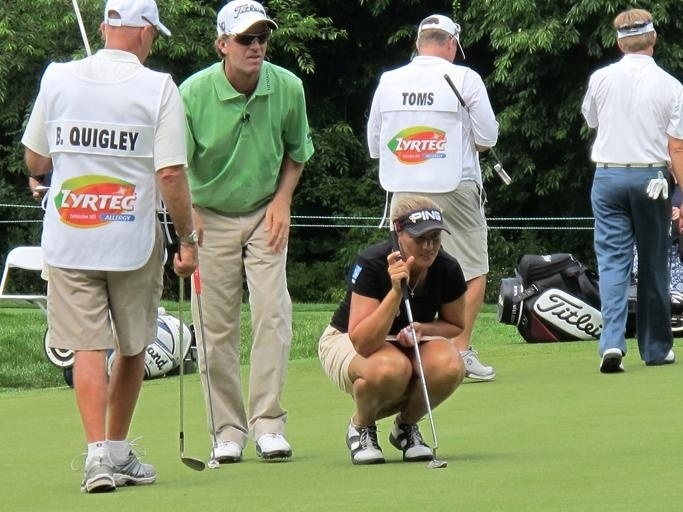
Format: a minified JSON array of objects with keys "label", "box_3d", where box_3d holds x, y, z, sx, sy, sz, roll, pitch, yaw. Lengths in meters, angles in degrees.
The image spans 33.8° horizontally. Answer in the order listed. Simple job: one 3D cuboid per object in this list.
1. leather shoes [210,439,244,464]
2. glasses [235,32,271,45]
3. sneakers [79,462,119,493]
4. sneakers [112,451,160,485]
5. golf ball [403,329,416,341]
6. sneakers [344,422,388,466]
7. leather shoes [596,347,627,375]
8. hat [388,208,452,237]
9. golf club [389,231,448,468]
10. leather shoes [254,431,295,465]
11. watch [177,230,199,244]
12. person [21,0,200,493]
[{"label":"leather shoes","box_3d":[-0.606,1.053,5.980,0.136,0.097,0.279,0,3,0]},{"label":"glasses","box_3d":[-0.482,-1.179,6.156,0.196,0.075,0.060,-1,3,-23]},{"label":"sneakers","box_3d":[-1.139,1.034,5.267,0.156,0.141,0.103,-1,3,-13]},{"label":"sneakers","box_3d":[-0.994,1.018,5.495,0.284,0.190,0.107,-3,4,21]},{"label":"golf ball","box_3d":[0.348,0.420,5.803,0.050,0.068,0.022,7,22,20]},{"label":"sneakers","box_3d":[0.124,0.972,5.804,0.165,0.166,0.443,3,2,-8]},{"label":"leather shoes","box_3d":[1.814,0.698,7.515,0.163,0.167,0.150,0,3,1]},{"label":"hat","box_3d":[0.403,-0.167,5.765,0.273,0.145,0.177,0,3,2]},{"label":"golf club","box_3d":[0.387,0.522,5.710,0.195,1.335,0.104,-12,-7,12]},{"label":"leather shoes","box_3d":[-0.354,1.022,5.959,0.167,0.136,0.269,-1,3,-13]},{"label":"watch","box_3d":[-0.765,-0.092,5.630,0.068,0.040,0.069,-3,4,12]},{"label":"person","box_3d":[-1.116,-0.085,5.520,0.850,2.371,0.594,-1,3,-17]}]
